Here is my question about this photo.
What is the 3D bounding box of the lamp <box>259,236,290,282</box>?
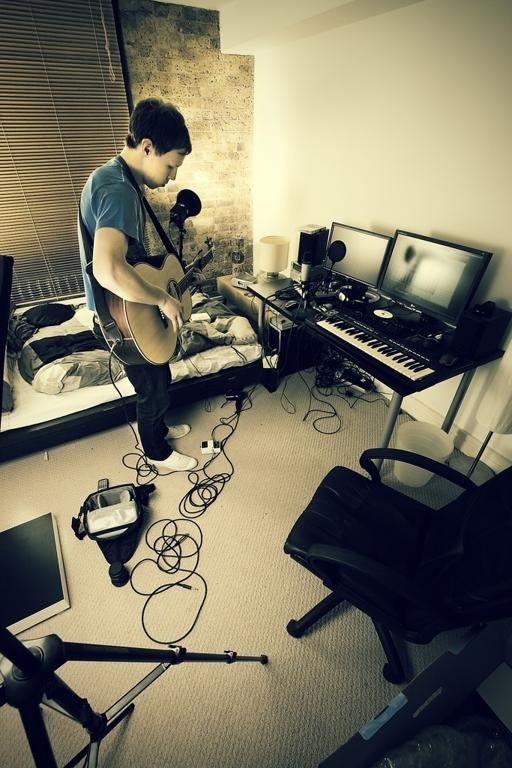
[{"bbox_3d":[0.109,-0.770,3.283,0.171,0.272,0.261,3,34,2],"label":"lamp"}]

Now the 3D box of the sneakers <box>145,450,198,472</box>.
[{"bbox_3d":[-0.393,0.392,2.647,0.276,0.120,0.099,-2,36,-1],"label":"sneakers"}]

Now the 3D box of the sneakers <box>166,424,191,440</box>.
[{"bbox_3d":[-0.413,0.247,2.881,0.124,0.052,0.054,-21,44,-19],"label":"sneakers"}]

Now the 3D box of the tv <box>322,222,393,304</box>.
[{"bbox_3d":[0.545,-0.635,2.806,0.118,0.353,0.348,-23,56,-25],"label":"tv"}]

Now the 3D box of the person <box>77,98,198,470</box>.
[{"bbox_3d":[-0.458,-0.254,2.205,0.461,1.636,0.400,-22,39,-32],"label":"person"}]
